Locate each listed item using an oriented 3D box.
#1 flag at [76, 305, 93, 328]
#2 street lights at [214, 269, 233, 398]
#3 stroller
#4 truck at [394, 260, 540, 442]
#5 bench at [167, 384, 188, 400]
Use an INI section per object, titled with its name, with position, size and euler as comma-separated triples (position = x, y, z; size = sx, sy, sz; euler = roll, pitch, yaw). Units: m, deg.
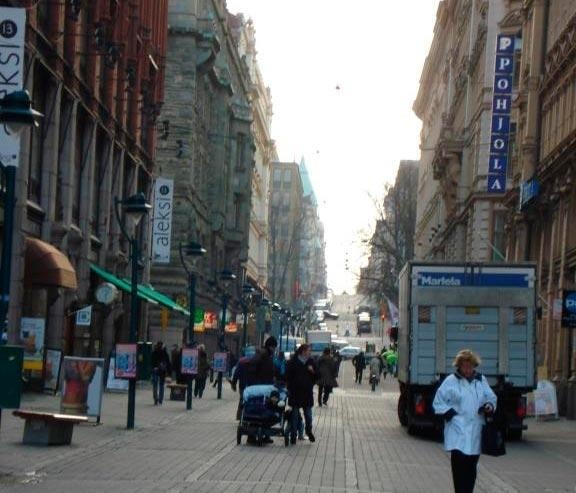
[flag]
position = -5.782, 1.864, 23.303
size = 0.380, 0.612, 0.836
euler = 6, -15, -20
[street lights]
position = -2.312, 3.345, 32.555
size = 0.748, 5.524, 0.834
euler = 4, -9, -22
[stroller]
position = -0.438, 3.107, 15.507
size = 0.806, 1.220, 1.120
euler = 2, -5, 1
[truck]
position = 4.020, 2.206, 19.386
size = 1.980, 3.219, 4.431
euler = 1, -6, 3
[bench]
position = -3.611, 4.546, 26.775
size = 0.635, 0.848, 0.421
euler = 2, 3, -1
